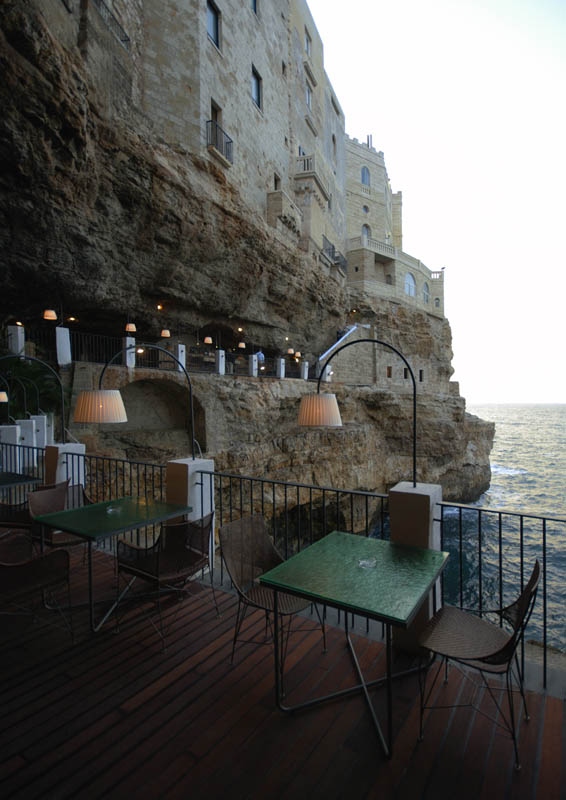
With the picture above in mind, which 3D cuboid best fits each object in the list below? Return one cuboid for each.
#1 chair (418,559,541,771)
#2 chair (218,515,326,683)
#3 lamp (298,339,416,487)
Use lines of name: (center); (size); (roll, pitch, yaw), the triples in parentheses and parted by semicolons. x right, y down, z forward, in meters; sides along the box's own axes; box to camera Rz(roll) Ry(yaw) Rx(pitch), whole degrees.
chair: (1.152, 1.391, 3.288); (0.654, 1.023, 0.906); (3, 8, 25)
chair: (-0.090, 1.369, 3.978); (0.578, 0.916, 0.595); (5, 11, 39)
lamp: (0.596, 0.245, 4.296); (0.919, 1.479, 0.352); (-3, -8, 13)
